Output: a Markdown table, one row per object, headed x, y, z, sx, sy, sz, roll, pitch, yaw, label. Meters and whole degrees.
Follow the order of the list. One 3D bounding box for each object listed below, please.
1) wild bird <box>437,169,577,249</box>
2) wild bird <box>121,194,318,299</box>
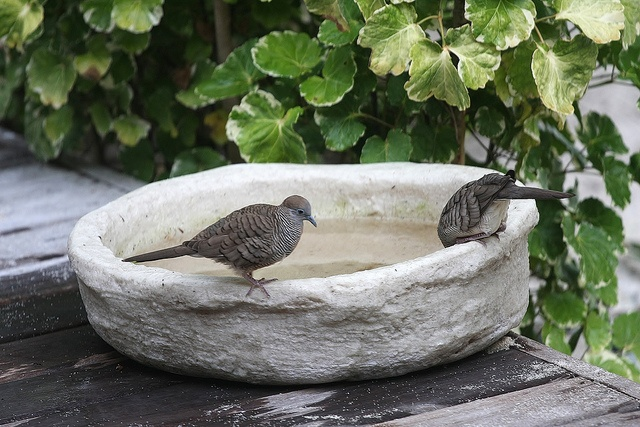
| x | y | z | sx | sy | sz | roll | pitch | yaw | label |
| --- | --- | --- | --- | --- | --- | --- | --- | --- | --- |
| 0.735 | 0.019 | 3.590 | 0.470 | 0.415 | 0.118 | 18 | 23 | 20 | wild bird |
| -0.376 | 0.104 | 3.739 | 0.898 | 0.613 | 0.333 | 2 | 8 | -9 | wild bird |
